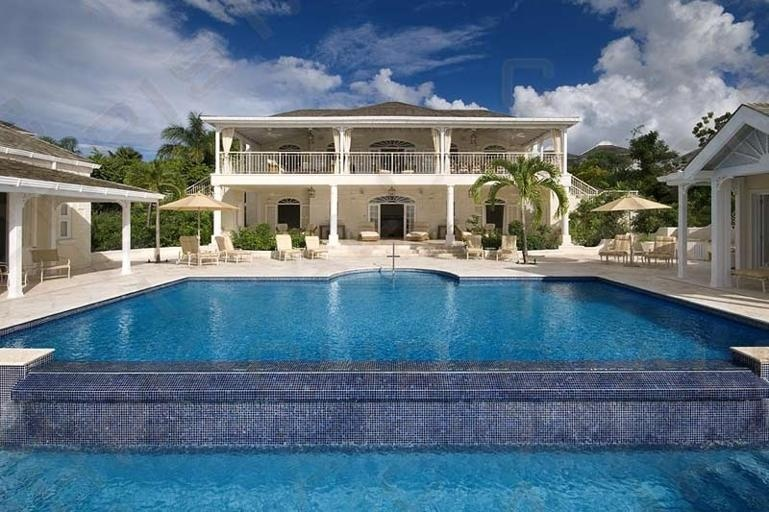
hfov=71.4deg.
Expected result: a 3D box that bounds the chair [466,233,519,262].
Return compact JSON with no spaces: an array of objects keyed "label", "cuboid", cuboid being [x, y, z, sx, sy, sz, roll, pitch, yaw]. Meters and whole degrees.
[{"label":"chair","cuboid":[4.510,-0.537,22.358,2.189,0.905,1.145,0,-3,3]}]

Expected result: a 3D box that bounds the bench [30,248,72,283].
[{"label":"bench","cuboid":[-9.698,0.266,15.570,0.912,0.768,0.797,15,15,42]}]
